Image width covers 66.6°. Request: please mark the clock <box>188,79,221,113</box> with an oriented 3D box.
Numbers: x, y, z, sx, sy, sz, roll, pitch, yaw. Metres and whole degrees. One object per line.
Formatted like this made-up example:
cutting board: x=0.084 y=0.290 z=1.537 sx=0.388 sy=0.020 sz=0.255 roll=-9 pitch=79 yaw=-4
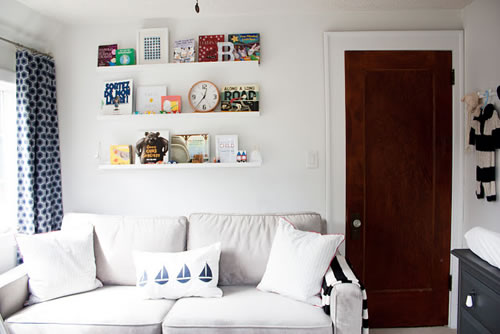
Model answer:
clock: x=-0.458 y=-0.741 z=3.957 sx=0.320 sy=0.347 sz=0.058 roll=-1 pitch=-5 yaw=2
